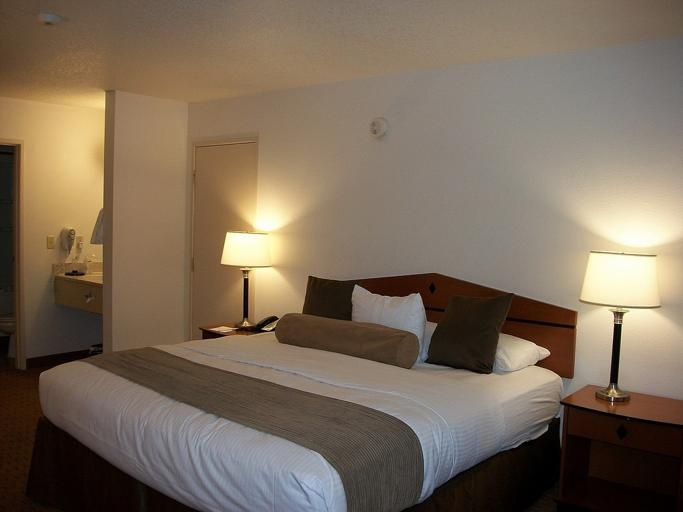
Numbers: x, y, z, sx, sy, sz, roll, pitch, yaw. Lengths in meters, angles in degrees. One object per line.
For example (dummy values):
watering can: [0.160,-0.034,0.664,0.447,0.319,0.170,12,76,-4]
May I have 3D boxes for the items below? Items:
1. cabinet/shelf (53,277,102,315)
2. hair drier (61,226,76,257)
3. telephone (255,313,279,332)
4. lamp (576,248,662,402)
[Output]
cabinet/shelf: [-2.652,0.445,5.634,0.745,0.297,0.232,5,-7,26]
hair drier: [-3.002,-0.140,5.860,0.101,0.310,0.117,6,13,35]
telephone: [-0.662,0.612,4.775,0.123,0.077,0.217,2,17,34]
lamp: [1.717,0.434,3.313,0.457,0.908,0.368,2,11,15]
